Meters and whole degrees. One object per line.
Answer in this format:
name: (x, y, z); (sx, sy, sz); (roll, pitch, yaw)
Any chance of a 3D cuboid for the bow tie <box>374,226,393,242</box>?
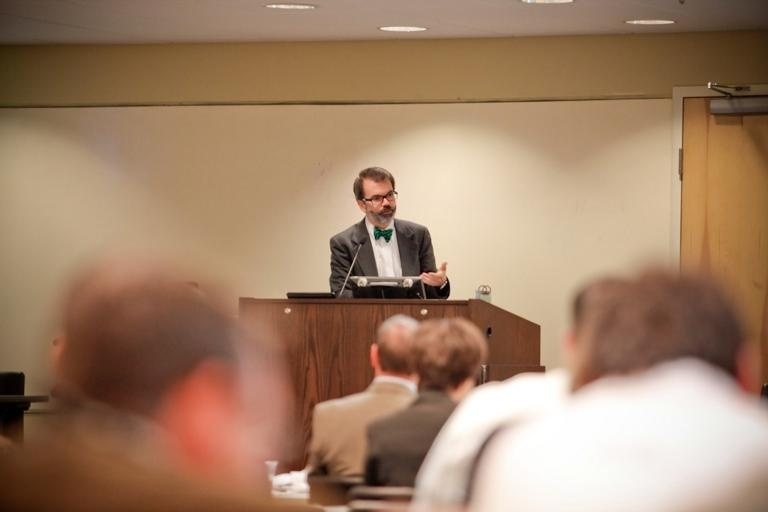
bow tie: (-0.006, -0.125, 3.997); (0.093, 0.078, 0.020); (5, -42, -5)
